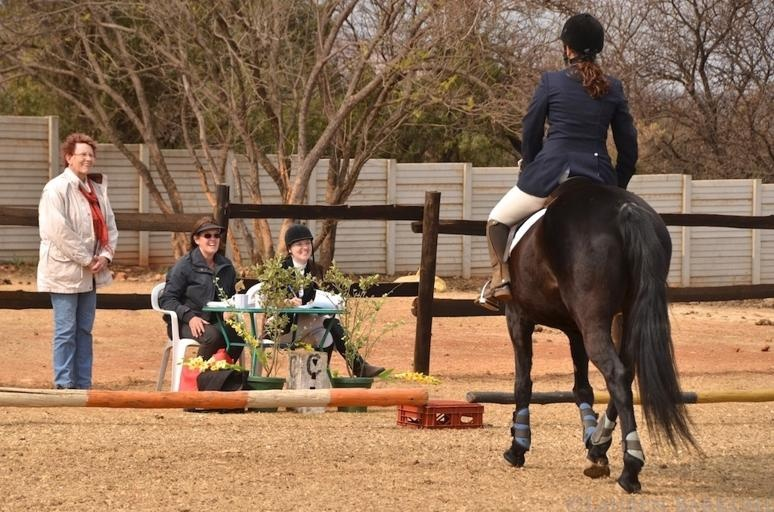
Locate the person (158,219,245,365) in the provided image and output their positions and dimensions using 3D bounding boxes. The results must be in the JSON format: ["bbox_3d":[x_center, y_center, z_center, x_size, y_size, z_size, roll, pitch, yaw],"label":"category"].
[{"bbox_3d":[-2.705,0.507,19.328,1.028,2.292,0.922,1,0,32],"label":"person"}]

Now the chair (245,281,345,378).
[{"bbox_3d":[-1.248,1.009,19.430,1.510,0.876,1.421,3,5,17],"label":"chair"}]

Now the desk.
[{"bbox_3d":[-1.540,1.385,19.358,2.311,1.306,1.223,0,-1,-12],"label":"desk"}]

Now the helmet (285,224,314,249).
[{"bbox_3d":[-1.311,-0.290,19.522,0.382,0.336,0.212,0,10,-6],"label":"helmet"}]

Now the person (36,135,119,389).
[{"bbox_3d":[-4.499,0.122,19.005,0.773,3.718,1.214,6,12,28],"label":"person"}]
